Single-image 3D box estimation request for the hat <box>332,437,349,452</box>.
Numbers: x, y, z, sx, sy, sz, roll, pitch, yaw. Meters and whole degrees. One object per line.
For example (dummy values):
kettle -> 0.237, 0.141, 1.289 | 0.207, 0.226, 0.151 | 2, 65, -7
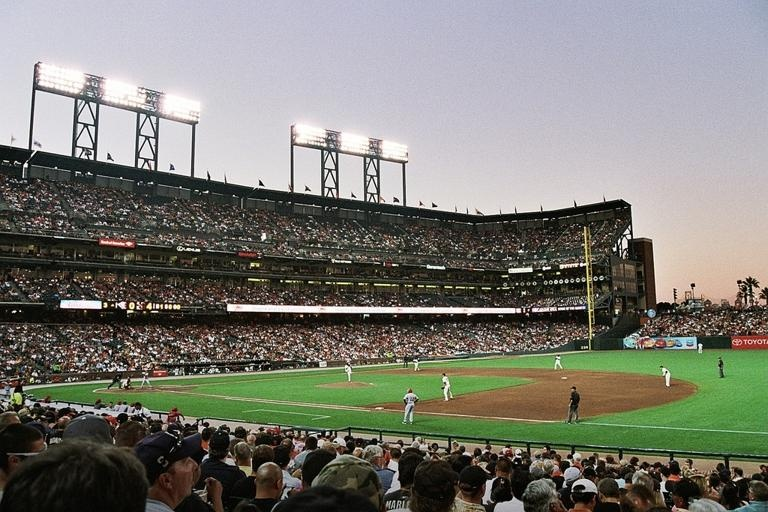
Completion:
hat -> -2.501, 10.986, 47.135 | 0.759, 0.824, 0.879 | 5, 3, 25
